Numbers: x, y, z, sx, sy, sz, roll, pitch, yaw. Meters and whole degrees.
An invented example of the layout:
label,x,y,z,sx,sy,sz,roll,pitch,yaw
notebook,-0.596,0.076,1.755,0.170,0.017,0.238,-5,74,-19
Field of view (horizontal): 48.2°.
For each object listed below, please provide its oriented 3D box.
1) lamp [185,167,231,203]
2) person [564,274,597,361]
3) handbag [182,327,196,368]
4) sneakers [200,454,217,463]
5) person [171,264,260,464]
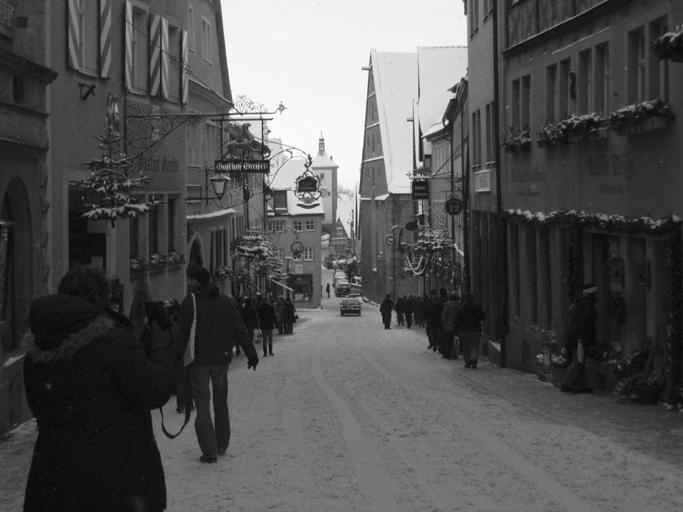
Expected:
label,x,y,z,sx,sy,sz,roll,pitch,yaw
lamp,-4.886,-2.573,28.288,1.031,1.296,2.911,0,1,0
person,4.218,1.125,13.590,0.541,1.286,0.630,0,1,10
handbag,-1.701,0.989,8.515,0.135,0.457,0.087,0,1,-9
sneakers,-1.484,2.231,8.480,0.133,0.082,0.087,4,-2,19
person,-1.446,1.201,8.658,0.860,2.146,0.640,0,1,-22
